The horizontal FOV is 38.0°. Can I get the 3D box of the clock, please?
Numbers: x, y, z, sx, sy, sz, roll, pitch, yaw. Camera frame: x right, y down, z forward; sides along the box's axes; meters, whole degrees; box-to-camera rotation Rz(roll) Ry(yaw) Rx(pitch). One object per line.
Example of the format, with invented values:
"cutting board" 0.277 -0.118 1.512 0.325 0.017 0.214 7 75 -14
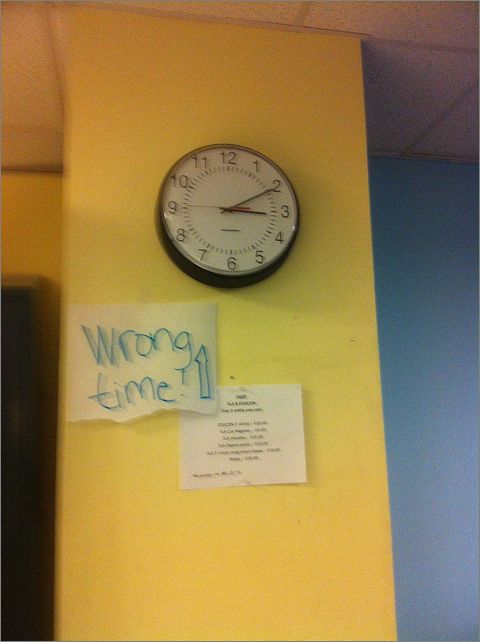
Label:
"clock" -0.050 -0.275 1.855 0.412 0.061 0.404 3 80 -10
